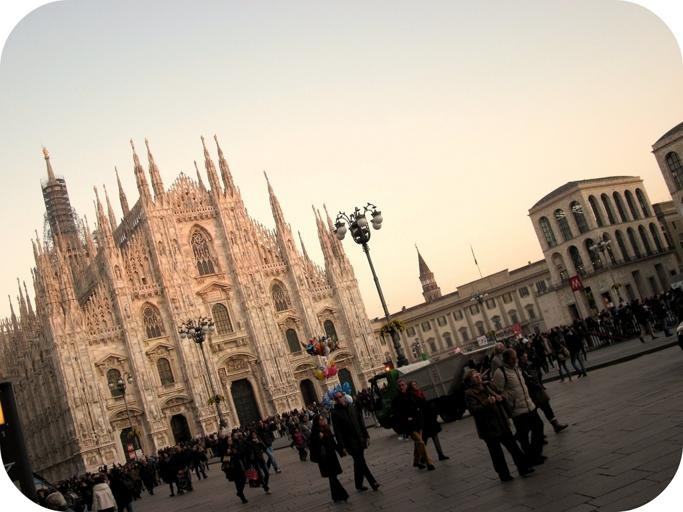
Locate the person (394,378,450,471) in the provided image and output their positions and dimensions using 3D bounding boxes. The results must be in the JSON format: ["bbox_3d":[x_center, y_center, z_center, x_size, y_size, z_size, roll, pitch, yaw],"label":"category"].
[{"bbox_3d":[1.623,3.508,13.686,0.745,1.337,1.017,-18,-9,26],"label":"person"}]

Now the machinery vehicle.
[{"bbox_3d":[2.501,4.479,21.096,3.066,1.666,2.012,-17,-6,-9],"label":"machinery vehicle"}]

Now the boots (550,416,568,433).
[{"bbox_3d":[4.513,3.477,13.388,0.334,0.260,0.353,-20,-10,30],"label":"boots"}]

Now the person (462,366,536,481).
[{"bbox_3d":[2.664,2.872,11.210,0.777,1.481,0.659,-15,-8,7],"label":"person"}]

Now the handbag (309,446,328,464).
[{"bbox_3d":[-0.473,4.061,13.190,0.340,0.266,0.351,-2,-5,2],"label":"handbag"}]
